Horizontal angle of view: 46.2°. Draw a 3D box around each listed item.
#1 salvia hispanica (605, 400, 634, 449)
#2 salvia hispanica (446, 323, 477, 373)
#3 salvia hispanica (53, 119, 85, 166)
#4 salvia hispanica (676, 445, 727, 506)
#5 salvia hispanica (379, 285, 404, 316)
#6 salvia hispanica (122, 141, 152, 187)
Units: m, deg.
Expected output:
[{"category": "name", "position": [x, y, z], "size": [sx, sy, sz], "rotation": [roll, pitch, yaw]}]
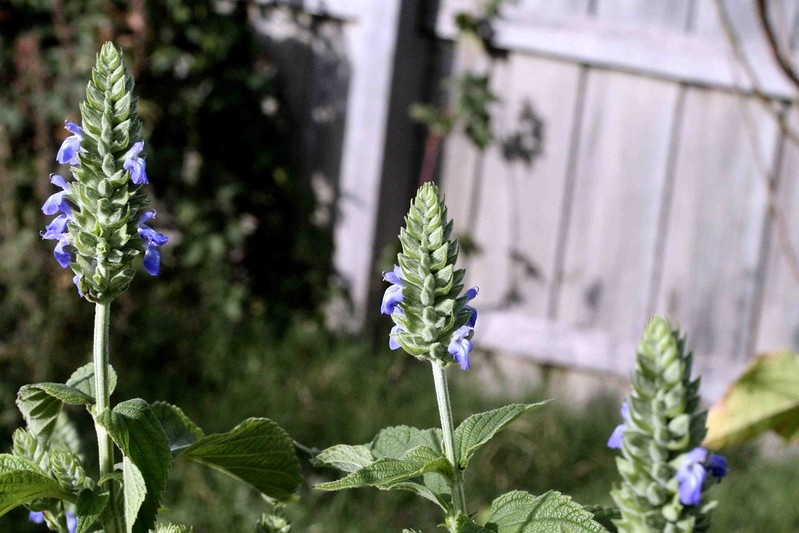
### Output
[{"category": "salvia hispanica", "position": [0.886, 0.625, 3.717], "size": [0.072, 0.180, 0.237], "rotation": [5, 2, 14]}, {"category": "salvia hispanica", "position": [0.268, 0.350, 3.880], "size": [0.115, 0.171, 0.058], "rotation": [-13, -1, 3]}, {"category": "salvia hispanica", "position": [-1.357, -0.486, 3.896], "size": [0.115, 0.215, 0.059], "rotation": [10, -3, 7]}, {"category": "salvia hispanica", "position": [1.161, 0.806, 3.590], "size": [0.077, 0.206, 0.234], "rotation": [16, -36, 31]}, {"category": "salvia hispanica", "position": [-0.035, 0.138, 3.856], "size": [0.059, 0.094, 0.117], "rotation": [3, 3, -37]}, {"category": "salvia hispanica", "position": [-1.081, -0.426, 3.874], "size": [0.094, 0.184, 0.162], "rotation": [5, 2, 0]}]
